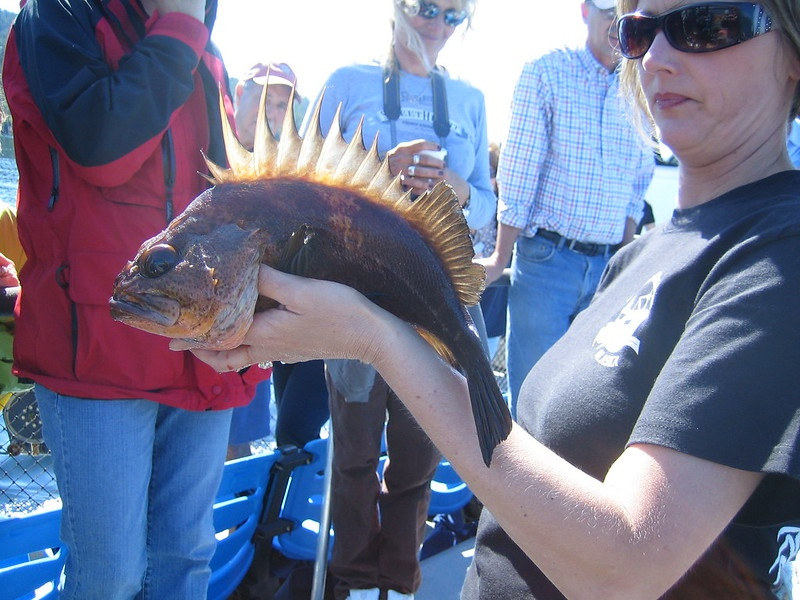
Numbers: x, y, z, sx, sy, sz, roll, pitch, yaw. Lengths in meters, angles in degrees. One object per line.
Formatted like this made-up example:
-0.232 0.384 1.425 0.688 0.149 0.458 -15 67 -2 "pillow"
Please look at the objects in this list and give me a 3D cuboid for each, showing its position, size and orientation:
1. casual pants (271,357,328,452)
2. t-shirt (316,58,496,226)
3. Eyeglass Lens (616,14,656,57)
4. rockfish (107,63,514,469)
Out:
-0.541 0.536 3.836 0.349 0.433 0.119 -3 8 -11 "casual pants"
0.110 -0.823 3.565 0.649 0.749 0.391 14 1 -4 "t-shirt"
0.701 -0.802 2.125 0.112 0.059 0.121 6 24 -19 "Eyeglass Lens"
-0.161 -0.111 2.013 1.188 0.914 0.423 6 -15 3 "rockfish"
